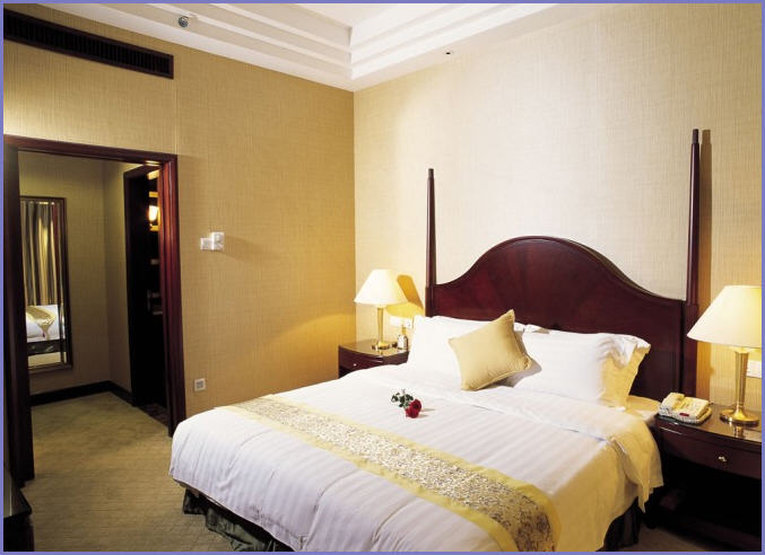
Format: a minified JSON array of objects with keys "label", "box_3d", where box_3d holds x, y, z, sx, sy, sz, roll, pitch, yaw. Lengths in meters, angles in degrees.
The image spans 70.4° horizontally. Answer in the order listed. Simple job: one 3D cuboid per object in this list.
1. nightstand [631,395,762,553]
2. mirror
[{"label":"nightstand","box_3d":[2.202,1.340,3.876,1.009,1.035,0.749,1,1,43]},{"label":"mirror","box_3d":[-3.479,0.064,5.670,0.433,1.778,0.202,-5,7,-34]}]
